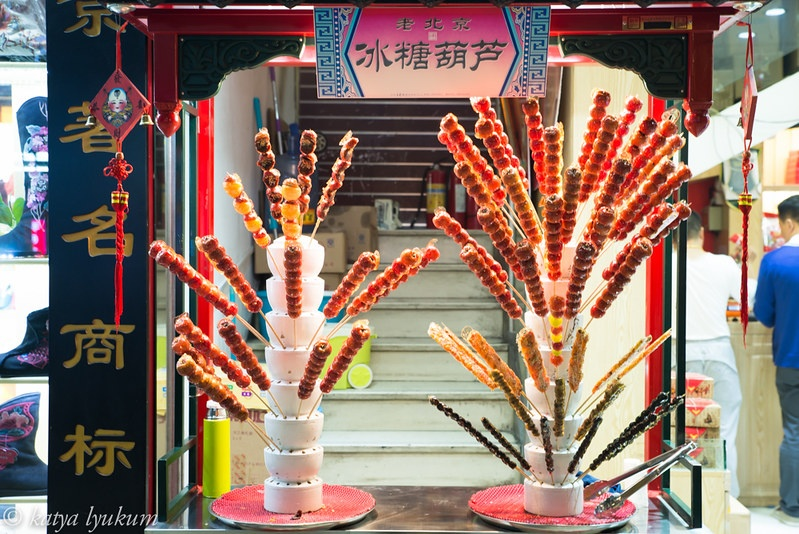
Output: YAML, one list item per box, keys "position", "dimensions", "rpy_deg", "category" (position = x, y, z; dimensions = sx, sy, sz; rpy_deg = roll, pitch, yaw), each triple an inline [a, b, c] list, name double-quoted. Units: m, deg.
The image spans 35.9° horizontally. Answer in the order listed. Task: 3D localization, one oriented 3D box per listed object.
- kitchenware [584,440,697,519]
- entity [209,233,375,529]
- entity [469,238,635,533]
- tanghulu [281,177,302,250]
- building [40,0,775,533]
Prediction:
- position: [0.954, 0.814, 4.832]
  dimensions: [0.595, 0.086, 0.161]
  rpy_deg: [-28, 22, -15]
  category: "kitchenware"
- position: [-0.244, 0.496, 5.463]
  dimensions: [1.075, 1.388, 0.961]
  rpy_deg: [0, 0, -5]
  category: "entity"
- position: [0.584, 0.527, 5.353]
  dimensions: [1.043, 1.263, 0.994]
  rpy_deg: [0, -1, 3]
  category: "entity"
- position: [-0.415, -0.204, 4.765]
  dimensions: [0.082, 0.264, 0.209]
  rpy_deg: [-4, -4, -5]
  category: "tanghulu"
- position: [0.063, 0.060, 5.276]
  dimensions: [3.197, 2.413, 1.078]
  rpy_deg: [0, 0, 3]
  category: "building"
